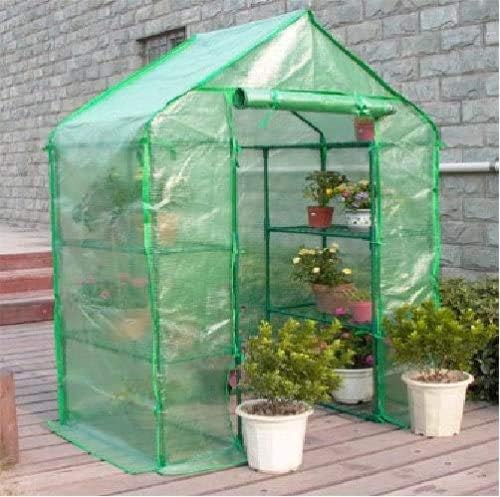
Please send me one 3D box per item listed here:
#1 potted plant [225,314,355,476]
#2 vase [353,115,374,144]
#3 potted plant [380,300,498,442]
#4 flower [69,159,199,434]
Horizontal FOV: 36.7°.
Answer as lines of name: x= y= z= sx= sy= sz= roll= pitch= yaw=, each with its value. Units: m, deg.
potted plant: x=0.161 y=0.749 z=4.061 sx=0.723 sy=0.912 sz=0.688 roll=2 pitch=-4 yaw=-3
vase: x=0.687 y=-0.727 z=4.598 sx=0.101 sy=0.147 sz=0.230 roll=-1 pitch=3 yaw=5
potted plant: x=1.099 y=0.683 z=4.441 sx=0.613 sy=0.746 sz=0.514 roll=0 pitch=3 yaw=16
flower: x=-0.674 y=0.057 z=4.013 sx=0.211 sy=1.015 sz=0.774 roll=-4 pitch=4 yaw=-44
